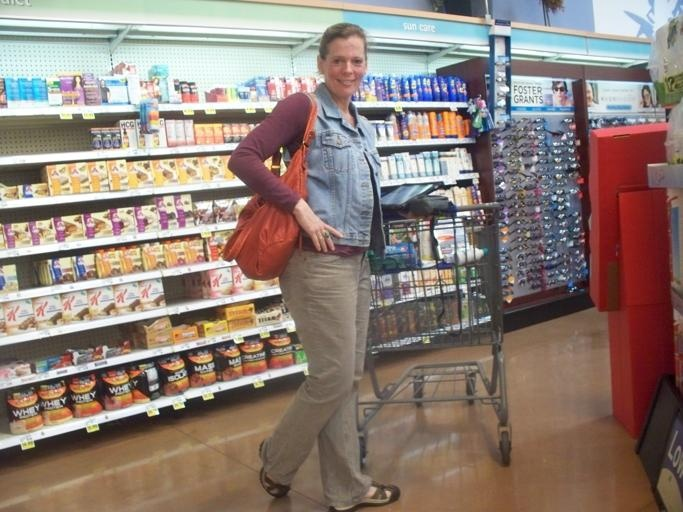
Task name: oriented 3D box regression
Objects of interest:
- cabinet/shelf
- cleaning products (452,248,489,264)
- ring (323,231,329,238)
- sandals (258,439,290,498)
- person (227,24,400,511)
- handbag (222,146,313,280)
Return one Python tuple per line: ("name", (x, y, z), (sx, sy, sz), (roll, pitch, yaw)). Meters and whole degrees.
("cabinet/shelf", (-0.767, 0.186, 3.061), (2.549, 1.262, 0.468), (-9, 15, -25))
("cleaning products", (0.701, -0.006, 2.692), (0.234, 0.089, 0.043), (-10, 8, -32))
("ring", (-0.061, -0.089, 2.061), (0.020, 0.008, 0.026), (-7, 23, -1))
("sandals", (-0.326, 1.091, 2.497), (0.138, 0.306, 0.083), (19, 31, 35))
("person", (-0.109, 0.119, 2.248), (0.711, 2.218, 0.411), (-7, 7, -3))
("handbag", (-0.306, -0.200, 2.146), (0.320, 0.577, 0.399), (4, 21, -30))
